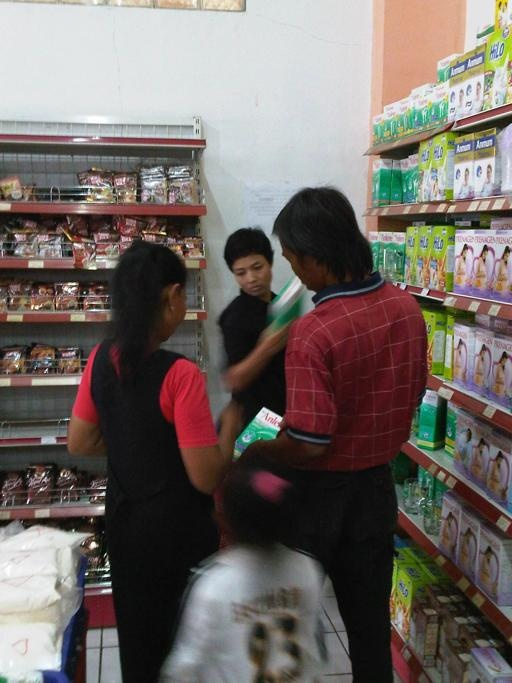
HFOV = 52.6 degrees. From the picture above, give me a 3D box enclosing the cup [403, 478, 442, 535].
[{"bbox_3d":[0.816,0.773,2.437,0.198,0.218,0.115,-3,2,-17],"label":"cup"}]
